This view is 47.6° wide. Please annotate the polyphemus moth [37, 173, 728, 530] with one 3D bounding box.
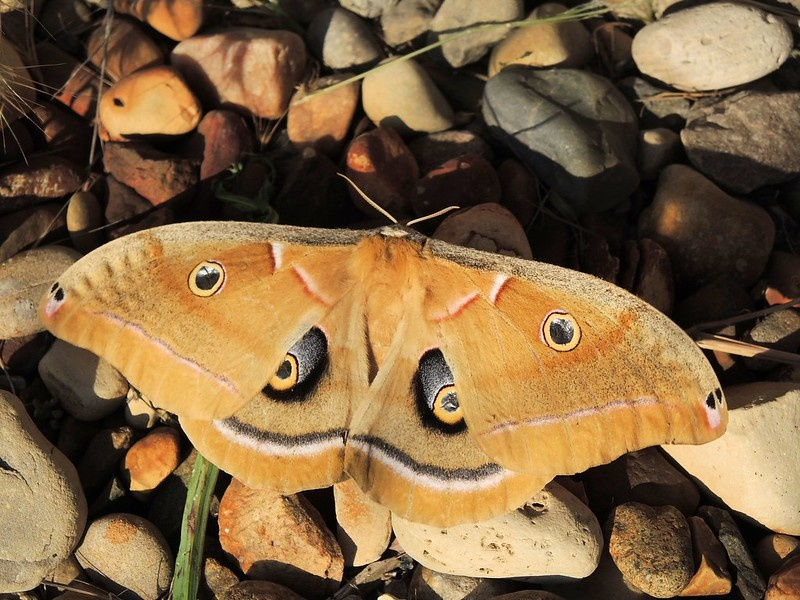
[{"bbox_3d":[-0.020,0.391,4.900,3.992,0.456,1.806,8,79,4],"label":"polyphemus moth"}]
